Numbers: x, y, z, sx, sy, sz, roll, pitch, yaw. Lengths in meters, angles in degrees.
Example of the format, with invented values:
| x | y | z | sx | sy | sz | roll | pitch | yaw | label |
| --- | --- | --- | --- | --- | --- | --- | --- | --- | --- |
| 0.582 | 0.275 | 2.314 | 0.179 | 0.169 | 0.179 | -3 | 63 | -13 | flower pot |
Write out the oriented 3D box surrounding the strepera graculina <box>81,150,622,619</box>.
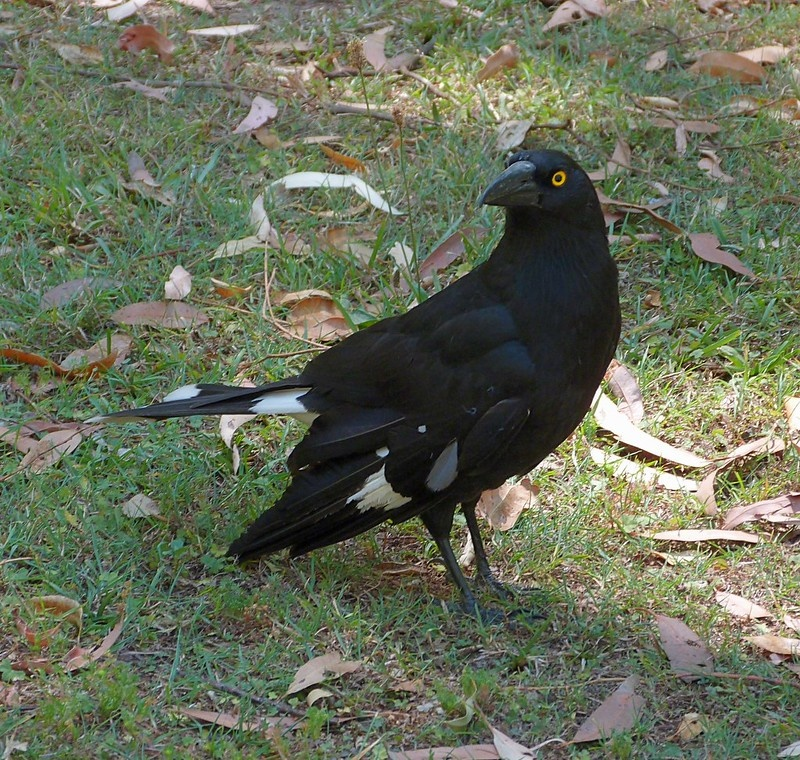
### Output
| x | y | z | sx | sy | sz | roll | pitch | yaw | label |
| --- | --- | --- | --- | --- | --- | --- | --- | --- | --- |
| -0.016 | 0.006 | 2.737 | 1.673 | 1.077 | 0.761 | -5 | 8 | 33 | strepera graculina |
